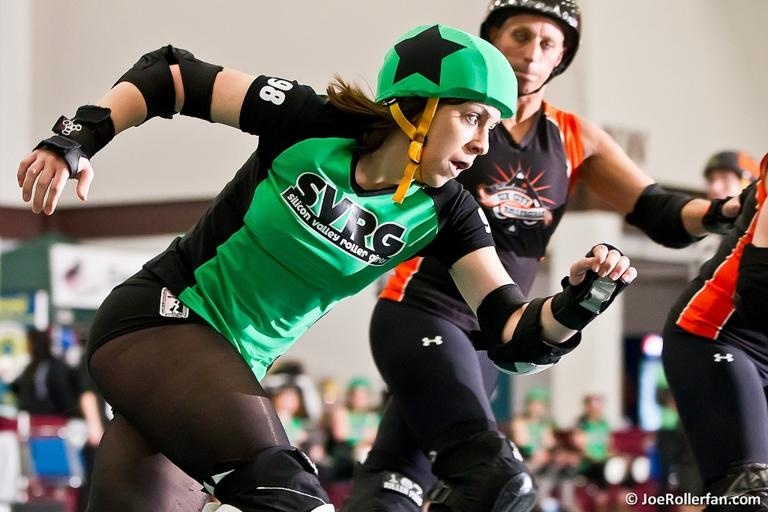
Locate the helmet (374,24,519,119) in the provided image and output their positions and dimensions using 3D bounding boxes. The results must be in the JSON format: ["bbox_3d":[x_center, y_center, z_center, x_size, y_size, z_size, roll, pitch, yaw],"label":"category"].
[{"bbox_3d":[0.294,-0.821,4.065,0.541,0.305,0.424,4,-2,21],"label":"helmet"}]
